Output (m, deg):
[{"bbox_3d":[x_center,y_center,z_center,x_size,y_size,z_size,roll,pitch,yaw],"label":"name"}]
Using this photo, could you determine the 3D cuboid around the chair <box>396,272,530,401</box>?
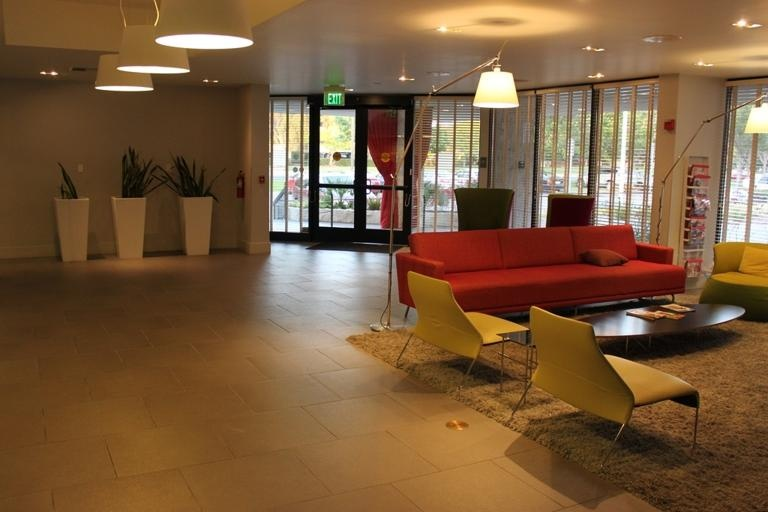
[{"bbox_3d":[0.570,0.608,4.845,1.242,0.875,1.063,-7,13,-36],"label":"chair"}]

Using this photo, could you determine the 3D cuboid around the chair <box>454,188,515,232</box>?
[{"bbox_3d":[1.659,-0.758,9.005,0.969,0.851,0.833,1,3,2],"label":"chair"}]

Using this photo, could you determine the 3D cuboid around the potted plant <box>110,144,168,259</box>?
[{"bbox_3d":[-4.727,-1.038,9.917,0.755,2.033,0.989,-3,16,-13],"label":"potted plant"}]

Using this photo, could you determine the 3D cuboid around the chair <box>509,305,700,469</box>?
[{"bbox_3d":[1.520,0.780,4.071,1.374,1.042,1.102,-7,9,-30],"label":"chair"}]

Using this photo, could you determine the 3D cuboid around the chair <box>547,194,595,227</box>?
[{"bbox_3d":[2.951,-0.723,8.367,0.701,0.633,0.608,4,6,24],"label":"chair"}]

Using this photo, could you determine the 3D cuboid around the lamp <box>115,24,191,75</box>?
[{"bbox_3d":[-1.845,-1.585,4.159,0.577,0.256,0.507,1,5,-4],"label":"lamp"}]
